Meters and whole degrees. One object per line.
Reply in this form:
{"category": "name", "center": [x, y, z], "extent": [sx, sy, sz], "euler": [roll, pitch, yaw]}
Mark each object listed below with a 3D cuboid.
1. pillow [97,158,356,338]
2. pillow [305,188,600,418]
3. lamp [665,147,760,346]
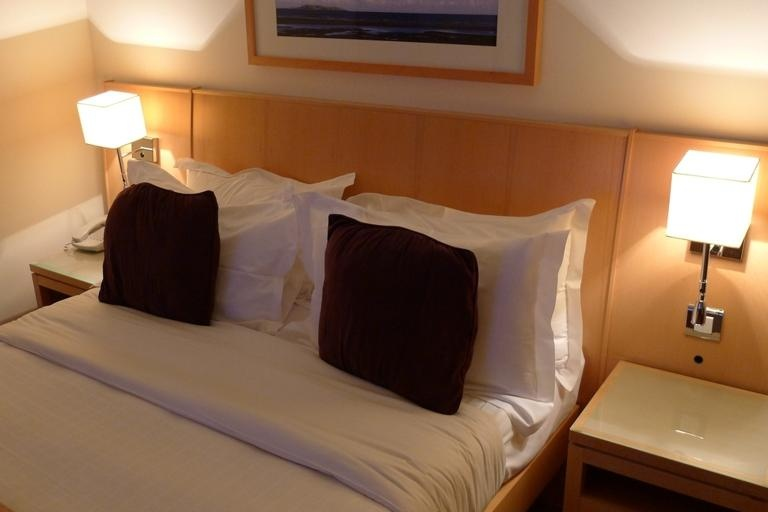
{"category": "pillow", "center": [-0.595, -0.027, 2.794], "extent": [0.826, 0.930, 0.274], "euler": [4, -9, 10]}
{"category": "pillow", "center": [0.284, 0.212, 2.370], "extent": [0.856, 0.628, 0.306], "euler": [10, 18, 26]}
{"category": "lamp", "center": [1.242, -0.016, 2.312], "extent": [0.299, 0.766, 0.267], "euler": [13, 18, 27]}
